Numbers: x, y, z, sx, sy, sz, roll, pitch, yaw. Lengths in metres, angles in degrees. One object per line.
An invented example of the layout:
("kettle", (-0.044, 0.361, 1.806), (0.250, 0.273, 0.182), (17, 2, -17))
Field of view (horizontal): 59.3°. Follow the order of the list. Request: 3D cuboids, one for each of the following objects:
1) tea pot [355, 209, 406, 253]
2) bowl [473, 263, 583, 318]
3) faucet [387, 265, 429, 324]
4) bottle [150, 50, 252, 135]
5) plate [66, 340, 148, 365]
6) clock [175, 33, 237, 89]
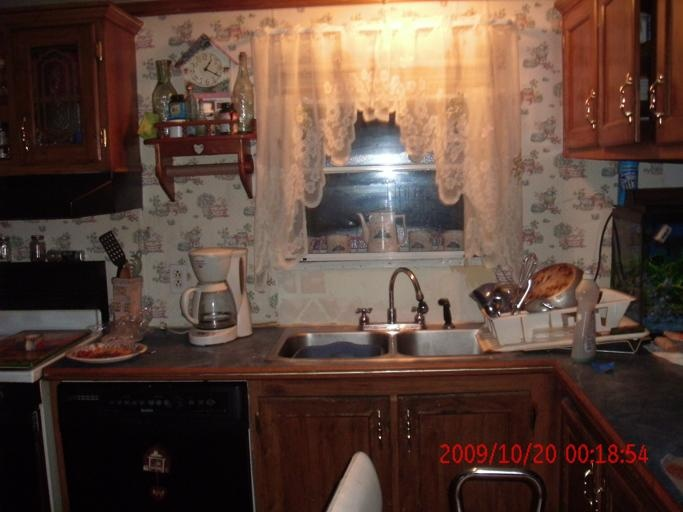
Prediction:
("tea pot", (0.206, -0.123, 3.131), (0.302, 0.254, 0.201), (-1, -1, 0))
("bowl", (0.848, 0.130, 2.755), (0.376, 0.151, 0.266), (-26, 6, 3))
("faucet", (0.341, 0.198, 3.061), (0.213, 0.330, 0.266), (0, 13, 7))
("bottle", (-0.686, -0.816, 3.027), (0.466, 0.430, 0.128), (-1, 2, -2))
("plate", (-1.111, 0.454, 2.825), (0.360, 0.035, 0.211), (0, 13, 7))
("clock", (-0.687, -1.024, 3.127), (0.318, 0.274, 0.055), (-1, 3, 1))
